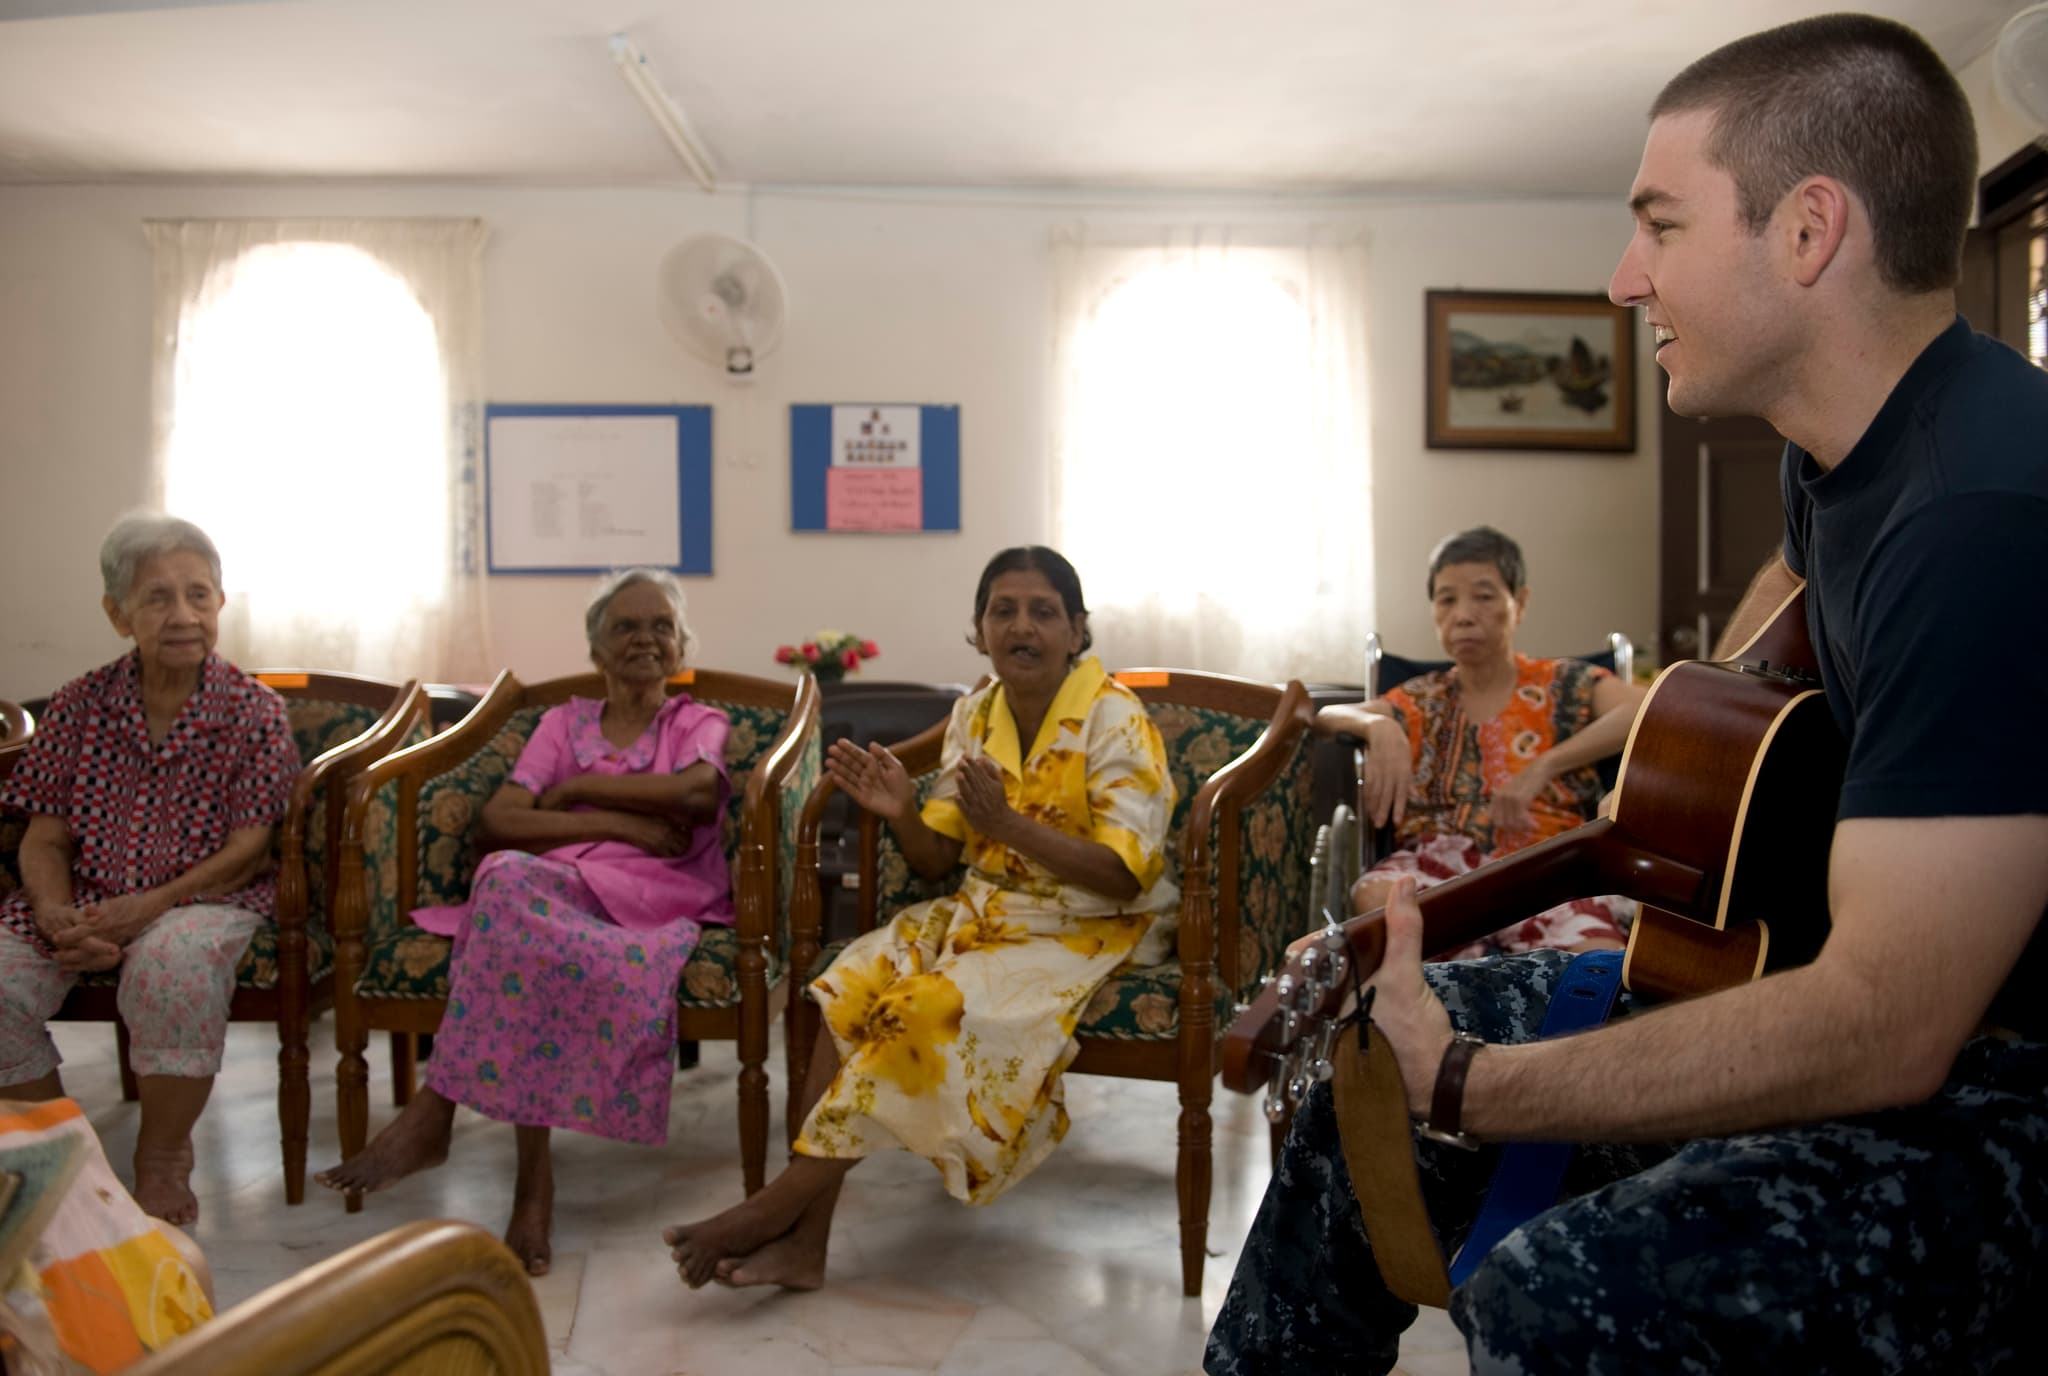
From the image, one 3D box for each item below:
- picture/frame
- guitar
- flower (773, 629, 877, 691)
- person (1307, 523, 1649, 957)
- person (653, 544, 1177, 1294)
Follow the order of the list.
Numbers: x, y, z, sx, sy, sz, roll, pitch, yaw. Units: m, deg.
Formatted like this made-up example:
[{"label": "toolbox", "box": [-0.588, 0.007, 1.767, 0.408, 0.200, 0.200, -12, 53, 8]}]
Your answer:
[{"label": "picture/frame", "box": [2.194, -1.400, 6.834, 1.150, 0.942, 0.061, 0, -1, -5]}, {"label": "guitar", "box": [0.731, 0.221, 2.124, 0.909, 0.468, 0.147, -25, 21, -31]}, {"label": "flower", "box": [-0.803, -0.133, 6.355, 0.295, 0.222, 0.309, 0, 0, 5]}, {"label": "person", "box": [1.100, 0.177, 3.763, 0.730, 1.121, 0.900, -1, -2, 21]}, {"label": "person", "box": [-0.154, 0.448, 3.266, 0.964, 1.476, 0.569, -1, 5, -16]}]
